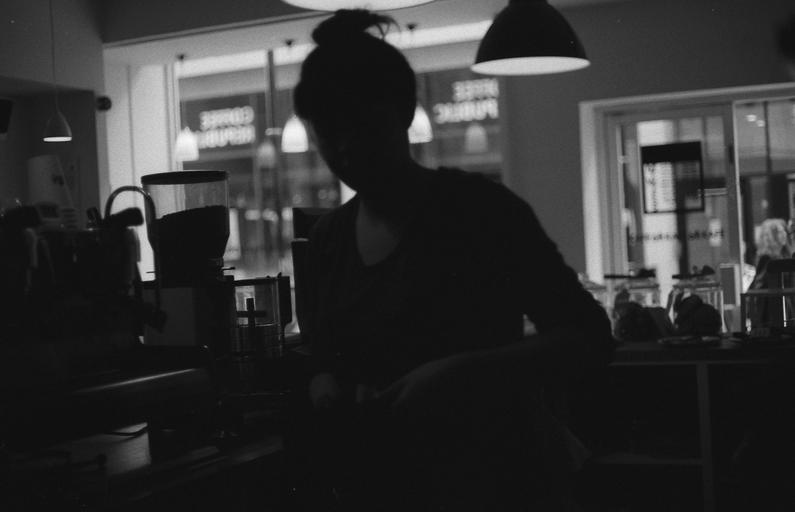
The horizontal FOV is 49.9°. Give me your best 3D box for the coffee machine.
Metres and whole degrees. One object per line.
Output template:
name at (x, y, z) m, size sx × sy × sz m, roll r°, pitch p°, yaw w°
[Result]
coffee machine at (-0.533, 0.102, 2.498) m, size 0.440 × 0.724 × 0.615 m, roll -4°, pitch 1°, yaw -8°
